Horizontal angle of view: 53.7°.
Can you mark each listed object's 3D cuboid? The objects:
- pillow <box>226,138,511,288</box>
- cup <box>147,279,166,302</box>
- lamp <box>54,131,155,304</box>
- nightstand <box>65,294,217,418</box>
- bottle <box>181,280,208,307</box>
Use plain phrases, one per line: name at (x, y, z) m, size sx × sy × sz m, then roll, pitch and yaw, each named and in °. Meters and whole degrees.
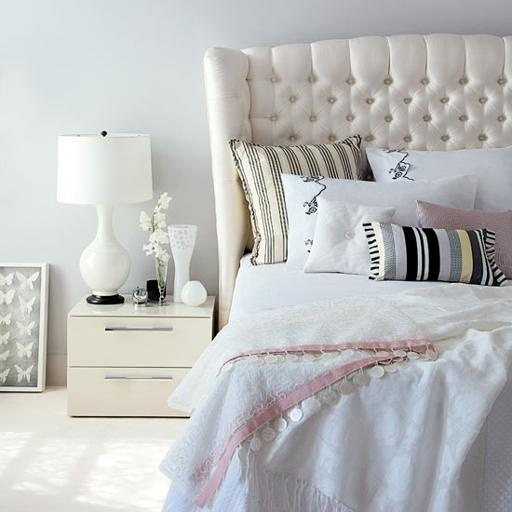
pillow at (0.467, -0.174, 2.102) m, size 0.867 × 0.590 × 0.229 m, roll -3°, pitch -8°, yaw -11°
cup at (-0.506, 0.178, 2.577) m, size 0.098 × 0.109 × 0.097 m, roll -1°, pitch -1°, yaw 0°
lamp at (-0.698, -0.168, 2.390) m, size 0.416 × 0.818 × 0.255 m, roll -2°, pitch 10°, yaw -15°
nightstand at (-0.548, 0.517, 2.513) m, size 0.667 × 0.465 × 0.474 m, roll 1°, pitch 3°, yaw -1°
bottle at (-0.296, 0.183, 2.478) m, size 0.116 × 0.116 × 0.120 m, roll 8°, pitch 17°, yaw 18°
